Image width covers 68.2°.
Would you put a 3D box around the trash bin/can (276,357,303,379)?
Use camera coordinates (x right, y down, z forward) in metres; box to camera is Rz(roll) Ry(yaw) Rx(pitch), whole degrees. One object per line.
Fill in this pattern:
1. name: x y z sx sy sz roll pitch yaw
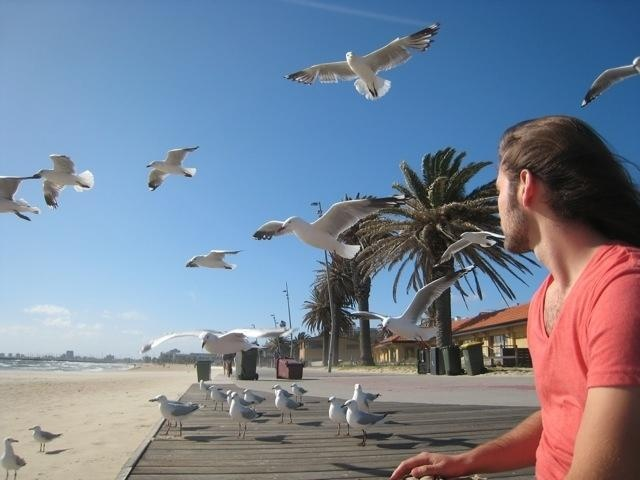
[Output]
1. trash bin/can: -1.396 5.898 21.480 1.115 1.113 1.653 2 -7 -19

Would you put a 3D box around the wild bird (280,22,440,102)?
1. wild bird: 1.004 -3.618 10.118 3.045 0.795 1.098 -9 -17 26
